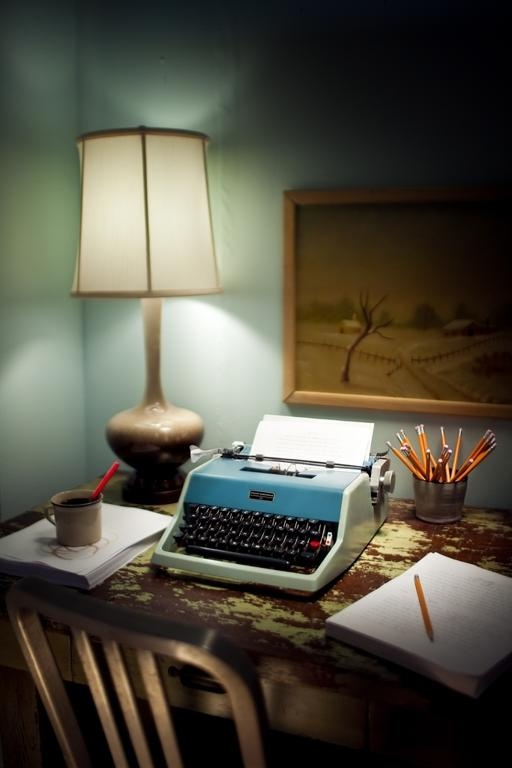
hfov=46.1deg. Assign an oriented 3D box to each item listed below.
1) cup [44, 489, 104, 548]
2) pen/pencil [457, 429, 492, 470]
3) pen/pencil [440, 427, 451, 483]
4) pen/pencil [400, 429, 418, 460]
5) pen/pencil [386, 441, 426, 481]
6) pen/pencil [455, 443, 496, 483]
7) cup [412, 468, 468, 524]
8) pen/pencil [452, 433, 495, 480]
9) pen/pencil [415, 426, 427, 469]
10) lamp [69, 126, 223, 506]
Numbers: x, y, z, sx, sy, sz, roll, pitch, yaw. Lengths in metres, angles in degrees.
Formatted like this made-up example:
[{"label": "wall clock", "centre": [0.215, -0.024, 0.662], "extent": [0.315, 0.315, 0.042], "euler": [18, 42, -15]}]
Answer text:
[{"label": "cup", "centre": [-0.347, 0.256, 1.131], "extent": [0.104, 0.096, 0.096], "euler": [2, 19, -1]}, {"label": "pen/pencil", "centre": [0.495, 0.147, 1.354], "extent": [0.025, 0.112, 0.019], "euler": [35, 32, 11]}, {"label": "pen/pencil", "centre": [0.422, 0.158, 1.339], "extent": [0.012, 0.108, 0.012], "euler": [6, -7, -5]}, {"label": "pen/pencil", "centre": [0.350, 0.140, 1.378], "extent": [0.030, 0.024, 0.102], "euler": [34, -6, 41]}, {"label": "pen/pencil", "centre": [0.343, 0.175, 1.374], "extent": [0.025, 0.029, 0.174], "euler": [-14, 36, -15]}, {"label": "pen/pencil", "centre": [0.498, 0.182, 1.354], "extent": [0.022, 0.125, 0.022], "euler": [39, 9, -16]}, {"label": "cup", "centre": [0.397, 0.239, 1.293], "extent": [0.106, 0.078, 0.099], "euler": [-1, 3, 0]}, {"label": "pen/pencil", "centre": [0.494, 0.165, 1.356], "extent": [0.025, 0.143, 0.029], "euler": [13, 38, -22]}, {"label": "pen/pencil", "centre": [0.366, 0.130, 1.351], "extent": [0.018, 0.129, 0.022], "euler": [-6, -6, 15]}, {"label": "lamp", "centre": [-0.248, -0.134, 1.370], "extent": [0.246, 0.838, 0.247], "euler": [6, 10, 33]}]
